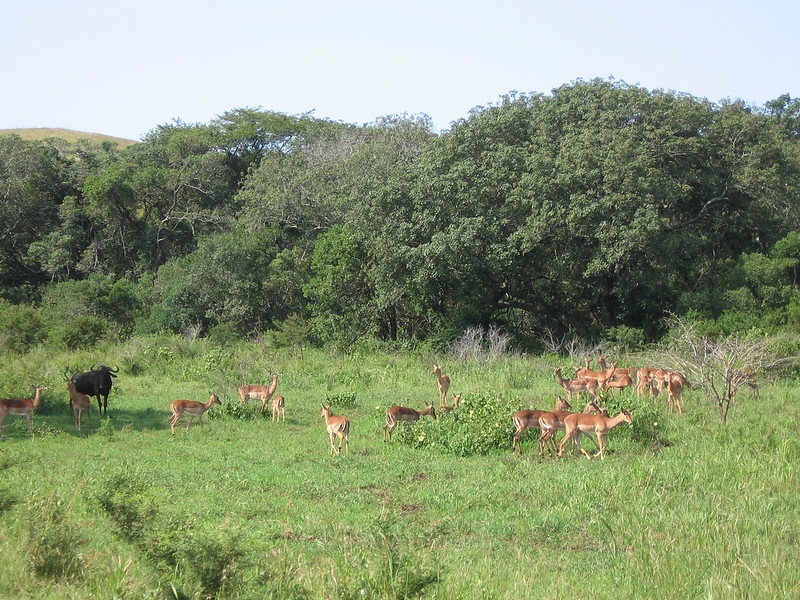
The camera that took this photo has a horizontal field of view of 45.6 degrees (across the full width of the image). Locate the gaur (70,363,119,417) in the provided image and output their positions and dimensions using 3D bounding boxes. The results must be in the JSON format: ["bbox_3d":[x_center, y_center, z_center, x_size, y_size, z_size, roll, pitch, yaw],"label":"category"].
[{"bbox_3d":[-9.147,2.714,28.651,0.692,1.437,1.413,0,-1,-30],"label":"gaur"}]
